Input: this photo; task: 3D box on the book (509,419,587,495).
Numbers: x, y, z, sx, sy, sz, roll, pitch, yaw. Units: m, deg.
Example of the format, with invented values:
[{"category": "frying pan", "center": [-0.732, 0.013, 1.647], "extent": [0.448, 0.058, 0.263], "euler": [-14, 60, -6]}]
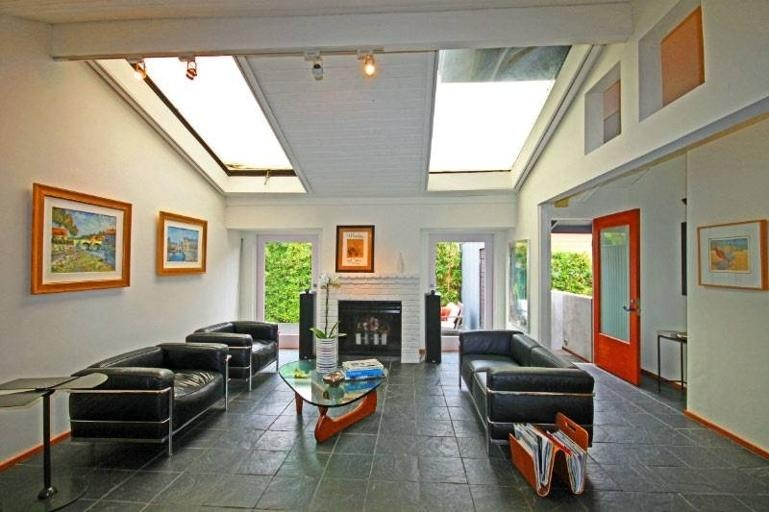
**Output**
[{"category": "book", "center": [1.807, 2.139, 5.820], "extent": [0.710, 0.808, 0.942], "euler": [-1, -5, 3]}]

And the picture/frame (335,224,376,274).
[{"category": "picture/frame", "center": [-0.511, -0.098, 9.382], "extent": [0.946, 1.039, 0.076], "euler": [0, -4, 1]}]

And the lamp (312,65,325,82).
[{"category": "lamp", "center": [-0.810, -2.238, 6.251], "extent": [0.093, 0.183, 0.296], "euler": [-1, -4, -3]}]

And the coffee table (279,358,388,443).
[{"category": "coffee table", "center": [-0.657, 1.777, 6.585], "extent": [1.057, 0.369, 0.885], "euler": [9, 12, 43]}]

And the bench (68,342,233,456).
[{"category": "bench", "center": [-2.811, 2.001, 6.311], "extent": [1.120, 0.846, 1.795], "euler": [0, -1, 2]}]

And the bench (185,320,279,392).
[{"category": "bench", "center": [-2.305, 1.407, 7.927], "extent": [0.966, 0.739, 1.242], "euler": [0, -1, 3]}]

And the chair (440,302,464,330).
[{"category": "chair", "center": [1.347, 1.137, 10.166], "extent": [0.500, 0.515, 0.499], "euler": [2, 5, 26]}]

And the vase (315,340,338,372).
[{"category": "vase", "center": [-0.793, 1.371, 7.066], "extent": [0.406, 0.420, 0.395], "euler": [2, -5, -5]}]

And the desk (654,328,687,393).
[{"category": "desk", "center": [4.230, 1.561, 7.612], "extent": [0.410, 0.896, 0.817], "euler": [-3, -4, 27]}]

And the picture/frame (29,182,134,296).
[{"category": "picture/frame", "center": [-3.767, -0.197, 6.465], "extent": [1.190, 1.071, 0.066], "euler": [2, 2, 7]}]
